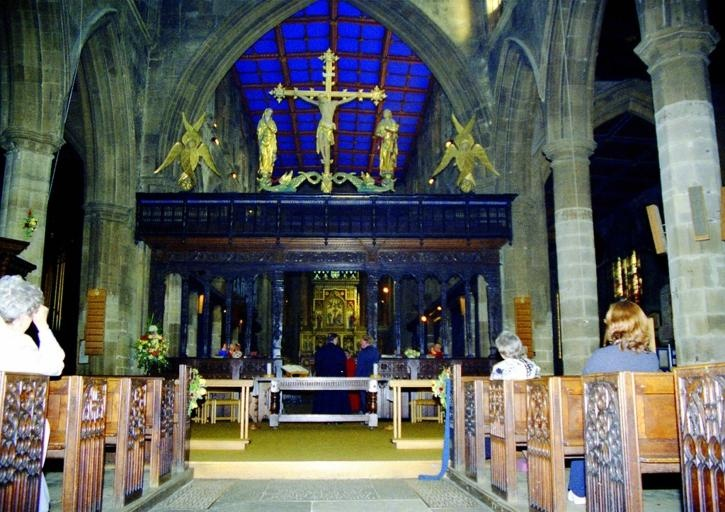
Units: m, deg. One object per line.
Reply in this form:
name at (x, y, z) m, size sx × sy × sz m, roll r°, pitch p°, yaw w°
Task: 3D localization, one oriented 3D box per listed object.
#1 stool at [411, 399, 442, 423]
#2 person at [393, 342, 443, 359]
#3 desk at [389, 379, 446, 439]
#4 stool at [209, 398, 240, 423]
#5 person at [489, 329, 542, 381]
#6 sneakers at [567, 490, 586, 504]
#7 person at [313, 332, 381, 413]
stool at (1.492, 3.640, 15.745) m, size 0.891 × 0.640 × 0.638 m, roll 0°, pitch -14°, yaw 2°
person at (1.623, 2.678, 18.748) m, size 1.202 × 0.431 × 0.843 m, roll -2°, pitch -9°, yaw 6°
desk at (1.062, 2.880, 12.455) m, size 1.243 × 1.181 × 1.226 m, roll 2°, pitch -15°, yaw -8°
stool at (-3.188, 3.575, 15.485) m, size 0.888 × 0.701 × 0.635 m, roll 1°, pitch -14°, yaw -5°
person at (1.989, 1.353, 8.827) m, size 0.762 × 0.677 × 0.410 m, roll -6°, pitch -14°, yaw -18°
sneakers at (2.421, 2.741, 7.603) m, size 0.201 × 0.153 × 0.080 m, roll 3°, pitch 12°, yaw 36°
person at (-0.399, 2.632, 14.897) m, size 1.355 × 1.703 × 1.035 m, roll 0°, pitch -10°, yaw -5°
